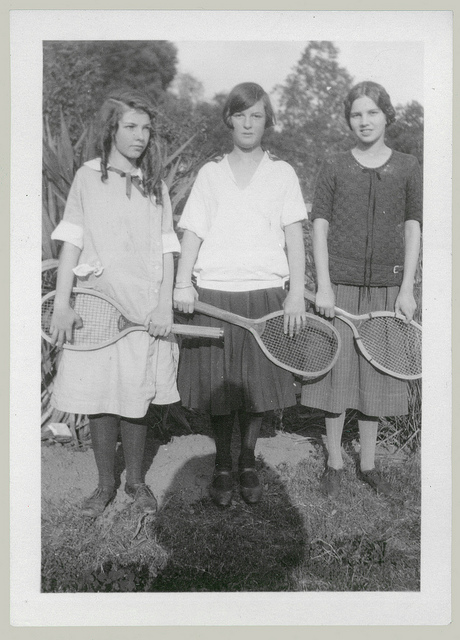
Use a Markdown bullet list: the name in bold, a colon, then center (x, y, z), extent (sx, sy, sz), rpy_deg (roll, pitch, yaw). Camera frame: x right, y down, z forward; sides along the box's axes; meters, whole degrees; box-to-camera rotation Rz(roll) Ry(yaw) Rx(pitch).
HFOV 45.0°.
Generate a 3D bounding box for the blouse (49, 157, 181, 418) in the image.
- **blouse**: center (-0.430, -0.136, 2.253), extent (0.485, 1.041, 0.541), rpy_deg (-4, 25, -24)

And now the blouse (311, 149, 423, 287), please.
- **blouse**: center (0.540, -0.397, 2.209), extent (0.437, 0.616, 0.219), rpy_deg (1, 4, -1)

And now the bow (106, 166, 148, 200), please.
- **bow**: center (-0.410, -0.529, 2.170), extent (0.109, 0.085, 0.011), rpy_deg (27, -33, -27)

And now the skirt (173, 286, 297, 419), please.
- **skirt**: center (0.040, 0.127, 2.349), extent (0.358, 0.567, 0.505), rpy_deg (3, 16, 10)

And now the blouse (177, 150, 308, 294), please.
- **blouse**: center (0.069, -0.330, 2.406), extent (0.703, 0.854, 0.421), rpy_deg (0, 3, -1)

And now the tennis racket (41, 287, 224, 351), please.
- **tennis racket**: center (-0.298, 0.018, 2.212), extent (0.857, 0.310, 0.067), rpy_deg (5, 2, 0)

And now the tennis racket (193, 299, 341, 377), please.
- **tennis racket**: center (0.182, 0.063, 2.199), extent (0.687, 0.272, 0.033), rpy_deg (24, -5, -3)
